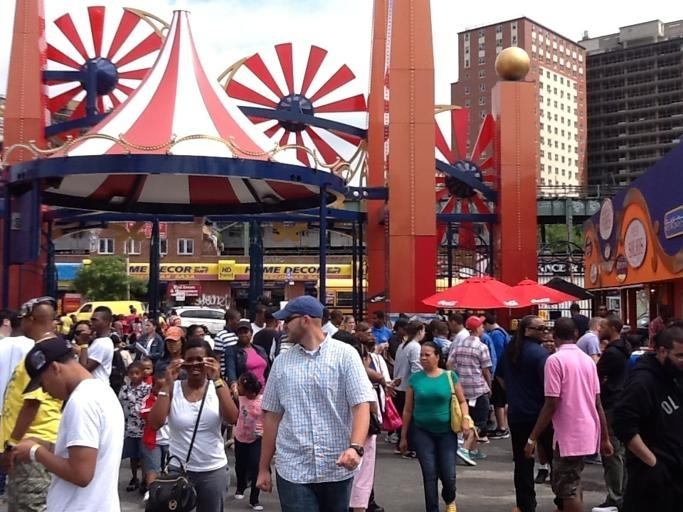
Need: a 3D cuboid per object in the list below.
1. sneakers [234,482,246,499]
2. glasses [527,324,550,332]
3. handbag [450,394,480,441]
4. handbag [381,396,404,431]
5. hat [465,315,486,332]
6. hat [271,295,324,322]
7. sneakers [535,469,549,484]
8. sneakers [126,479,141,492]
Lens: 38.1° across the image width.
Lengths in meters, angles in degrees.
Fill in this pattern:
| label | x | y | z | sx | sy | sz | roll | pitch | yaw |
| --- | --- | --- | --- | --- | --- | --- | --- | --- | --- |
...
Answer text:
| label | x | y | z | sx | sy | sz | roll | pitch | yaw |
| --- | --- | --- | --- | --- | --- | --- | --- | --- | --- |
| sneakers | -1.438 | 3.342 | 13.923 | 0.097 | 0.113 | 0.284 | 4 | 0 | 2 |
| glasses | 2.620 | 0.965 | 13.188 | 0.162 | 0.168 | 0.351 | -4 | -7 | 43 |
| handbag | 1.563 | 2.108 | 13.024 | 0.408 | 0.575 | 0.229 | -12 | 2 | 38 |
| handbag | 0.720 | 2.181 | 13.696 | 0.344 | 0.423 | 0.205 | -4 | 16 | 34 |
| hat | 2.263 | 1.152 | 16.818 | 0.237 | 0.206 | 0.356 | 0 | 29 | 42 |
| hat | -0.443 | 0.577 | 10.535 | 0.416 | 0.200 | 0.268 | 1 | -7 | -1 |
| sneakers | 2.954 | 3.259 | 14.581 | 0.113 | 0.136 | 0.309 | 3 | 10 | 13 |
| sneakers | -3.017 | 3.311 | 14.244 | 0.100 | 0.124 | 0.291 | 2 | 2 | -8 |
